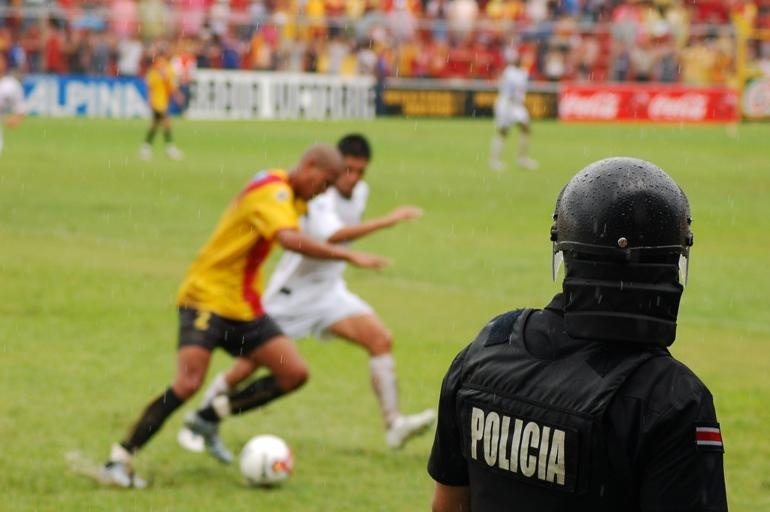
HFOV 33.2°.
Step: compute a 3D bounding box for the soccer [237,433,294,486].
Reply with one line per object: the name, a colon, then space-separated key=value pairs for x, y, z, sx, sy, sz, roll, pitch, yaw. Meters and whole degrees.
soccer: x=-1.346 y=2.278 z=14.603 sx=0.636 sy=0.705 sz=0.705 roll=10 pitch=16 yaw=-3
